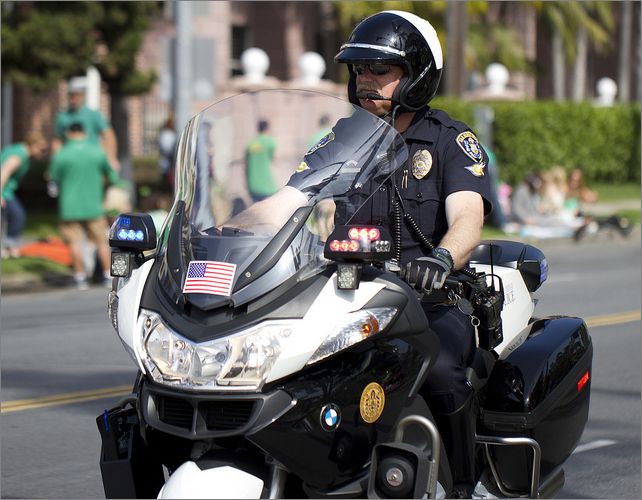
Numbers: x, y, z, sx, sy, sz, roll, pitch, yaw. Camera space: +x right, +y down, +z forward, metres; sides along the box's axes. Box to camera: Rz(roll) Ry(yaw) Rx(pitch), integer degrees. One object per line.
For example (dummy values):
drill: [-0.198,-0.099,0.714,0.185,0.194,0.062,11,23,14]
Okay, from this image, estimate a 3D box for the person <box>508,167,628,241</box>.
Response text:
person: [4.054,-0.858,17.719,1.741,0.981,1.132,4,7,40]

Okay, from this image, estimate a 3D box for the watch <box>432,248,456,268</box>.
watch: [0.563,0.028,4.834,0.037,0.100,0.072,-40,40,-16]

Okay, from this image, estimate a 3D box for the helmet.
helmet: [0.344,-0.952,5.438,0.537,0.490,0.415,-6,4,-44]

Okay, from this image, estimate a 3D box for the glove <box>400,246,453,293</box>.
glove: [0.518,0.099,4.832,0.178,0.132,0.328,27,31,21]
